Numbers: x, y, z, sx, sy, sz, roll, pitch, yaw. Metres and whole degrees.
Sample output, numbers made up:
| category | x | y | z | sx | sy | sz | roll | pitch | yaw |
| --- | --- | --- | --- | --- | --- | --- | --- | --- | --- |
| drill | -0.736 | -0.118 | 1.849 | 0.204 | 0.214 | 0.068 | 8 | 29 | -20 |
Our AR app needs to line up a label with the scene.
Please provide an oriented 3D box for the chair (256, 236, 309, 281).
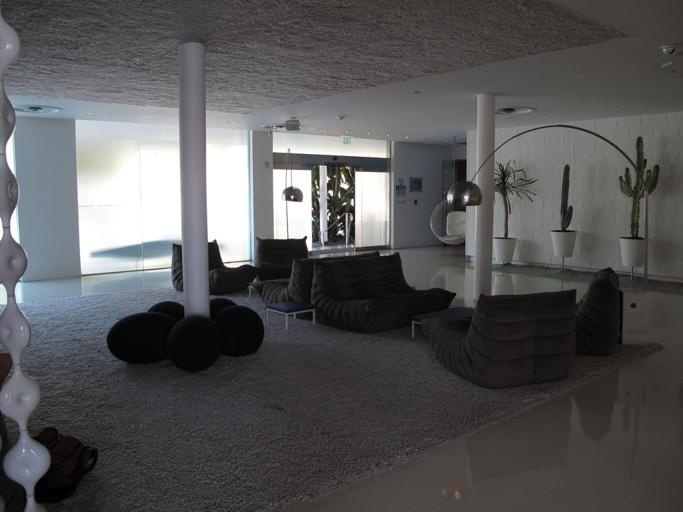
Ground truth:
| category | x | y | z | sx | sy | sz | roll | pitch | yaw |
| --- | --- | --- | --- | --- | --- | --- | --- | --- | --- |
| chair | -1.224 | 0.006 | 9.300 | 0.914 | 0.890 | 0.871 | 0 | -1 | -19 |

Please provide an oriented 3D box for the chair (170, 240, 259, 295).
| category | x | y | z | sx | sy | sz | roll | pitch | yaw |
| --- | --- | --- | --- | --- | --- | --- | --- | --- | --- |
| chair | -2.628 | 0.360 | 9.324 | 1.244 | 0.980 | 1.331 | 4 | 7 | 26 |

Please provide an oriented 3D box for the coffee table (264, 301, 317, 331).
| category | x | y | z | sx | sy | sz | roll | pitch | yaw |
| --- | --- | --- | --- | --- | --- | --- | --- | --- | --- |
| coffee table | -0.689 | 0.946 | 6.611 | 0.509 | 0.266 | 0.517 | 7 | 8 | 43 |

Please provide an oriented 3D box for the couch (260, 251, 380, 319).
| category | x | y | z | sx | sy | sz | roll | pitch | yaw |
| --- | --- | --- | --- | --- | --- | --- | --- | --- | --- |
| couch | -0.797 | 0.477 | 7.614 | 1.339 | 0.609 | 1.336 | -2 | 5 | -34 |

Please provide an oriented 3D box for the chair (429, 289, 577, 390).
| category | x | y | z | sx | sy | sz | roll | pitch | yaw |
| --- | --- | --- | --- | --- | --- | --- | --- | --- | --- |
| chair | 1.691 | 0.841 | 4.970 | 1.108 | 0.757 | 1.092 | -3 | 10 | -9 |

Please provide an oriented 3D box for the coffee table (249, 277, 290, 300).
| category | x | y | z | sx | sy | sz | roll | pitch | yaw |
| --- | --- | --- | --- | --- | --- | --- | --- | --- | --- |
| coffee table | -1.450 | 0.538 | 8.260 | 0.644 | 0.261 | 0.449 | -9 | 14 | -36 |
